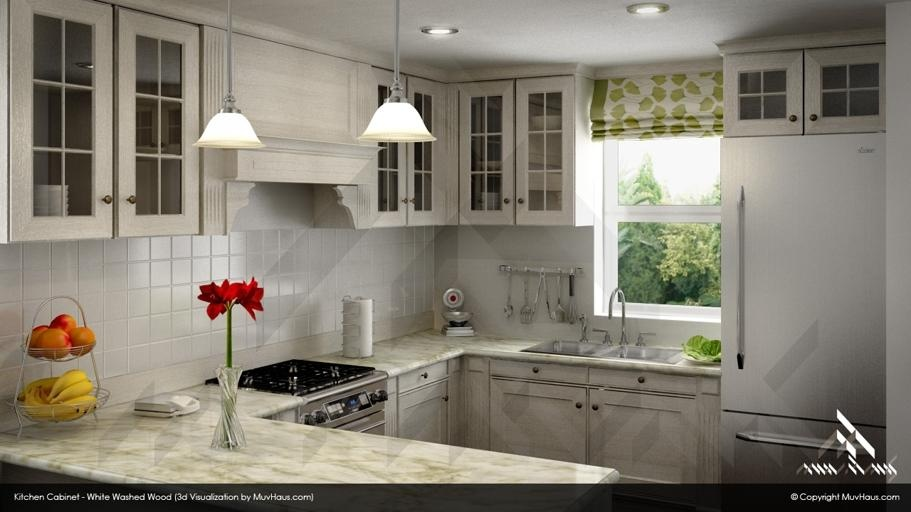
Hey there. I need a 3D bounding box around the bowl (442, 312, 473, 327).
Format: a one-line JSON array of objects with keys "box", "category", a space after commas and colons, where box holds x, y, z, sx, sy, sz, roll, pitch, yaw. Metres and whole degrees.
[{"box": [0.019, 0.592, 5.705, 0.268, 0.147, 0.141, 0, 8, 1], "category": "bowl"}]

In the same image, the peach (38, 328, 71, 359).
[{"box": [-2.244, 0.493, 3.395, 0.155, 0.170, 0.084, -4, 9, -25], "category": "peach"}]

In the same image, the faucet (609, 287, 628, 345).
[{"box": [1.446, 0.511, 5.380, 0.172, 0.499, 0.396, 2, 8, 15], "category": "faucet"}]

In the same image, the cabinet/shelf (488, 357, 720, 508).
[{"box": [1.179, 1.271, 4.396, 1.427, 0.691, 0.442, 0, -6, 22], "category": "cabinet/shelf"}]

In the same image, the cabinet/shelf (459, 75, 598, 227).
[{"box": [0.529, -0.910, 5.258, 1.058, 1.244, 0.269, 4, 9, 25], "category": "cabinet/shelf"}]

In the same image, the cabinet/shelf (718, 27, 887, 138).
[{"box": [2.512, -1.242, 4.300, 0.960, 0.487, 0.327, 1, -1, 24], "category": "cabinet/shelf"}]

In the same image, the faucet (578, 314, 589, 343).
[{"box": [1.152, 0.648, 5.420, 0.108, 0.240, 0.108, 2, 8, 10], "category": "faucet"}]

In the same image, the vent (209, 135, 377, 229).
[{"box": [-1.212, -0.478, 4.405, 0.389, 0.573, 1.324, 17, 13, 35], "category": "vent"}]

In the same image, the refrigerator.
[{"box": [2.428, 0.409, 4.277, 1.135, 2.499, 0.348, 3, 9, 17], "category": "refrigerator"}]

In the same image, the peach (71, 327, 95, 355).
[{"box": [-2.126, 0.489, 3.461, 0.117, 0.158, 0.110, -6, 10, -36], "category": "peach"}]

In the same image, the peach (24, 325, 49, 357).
[{"box": [-2.353, 0.474, 3.400, 0.162, 0.148, 0.170, -9, -3, 41], "category": "peach"}]

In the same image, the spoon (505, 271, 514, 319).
[{"box": [0.506, 0.372, 5.666, 0.085, 0.418, 0.093, 2, 9, 10], "category": "spoon"}]

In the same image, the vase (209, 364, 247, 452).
[{"box": [-1.206, 0.771, 3.194, 0.166, 0.442, 0.221, -3, 9, -20], "category": "vase"}]

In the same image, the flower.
[{"box": [-1.195, 0.344, 3.261, 0.301, 0.436, 0.407, 0, 8, 1], "category": "flower"}]

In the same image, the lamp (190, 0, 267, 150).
[{"box": [-1.314, -1.070, 3.447, 0.374, 0.917, 1.113, -3, 9, -19], "category": "lamp"}]
